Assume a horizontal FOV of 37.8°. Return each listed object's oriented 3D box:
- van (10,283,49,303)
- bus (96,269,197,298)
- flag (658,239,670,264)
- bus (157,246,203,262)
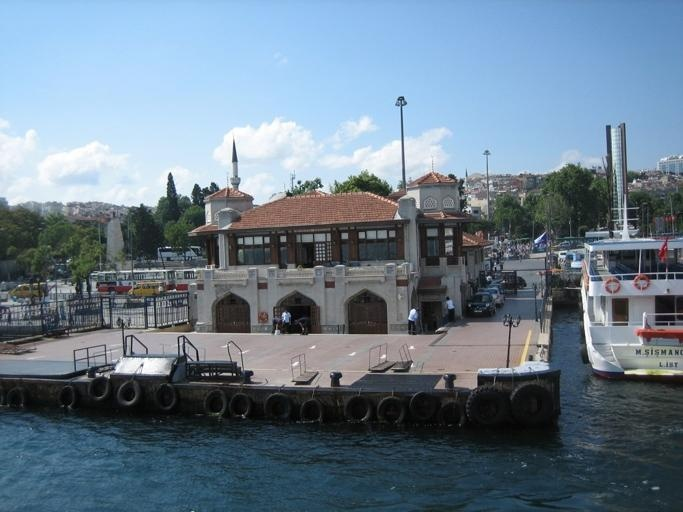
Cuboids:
[{"bbox_3d":[-34.670,4.175,110.927,3.307,1.494,1.965,4,5,16],"label":"van"},{"bbox_3d":[-20.265,2.934,104.930,8.431,2.151,2.608,0,1,31],"label":"bus"},{"bbox_3d":[20.817,-0.400,64.509,0.659,1.190,1.018,-3,-2,17],"label":"flag"},{"bbox_3d":[-24.796,-0.018,153.104,8.291,2.582,2.429,-2,4,-17],"label":"bus"}]
